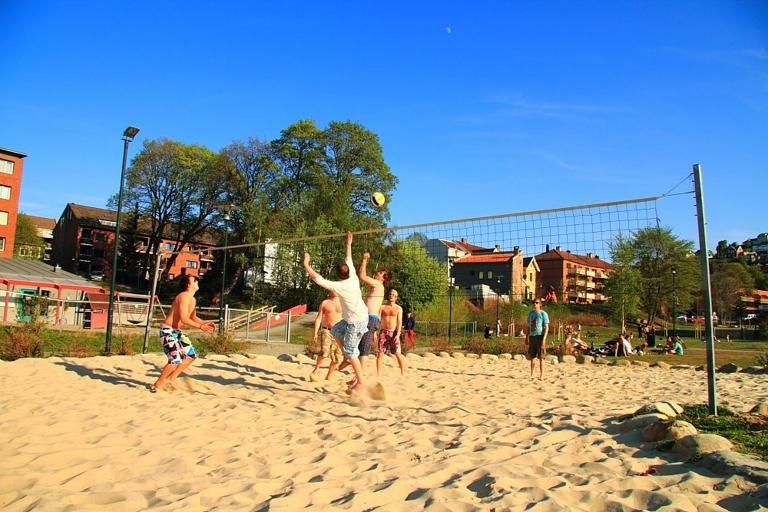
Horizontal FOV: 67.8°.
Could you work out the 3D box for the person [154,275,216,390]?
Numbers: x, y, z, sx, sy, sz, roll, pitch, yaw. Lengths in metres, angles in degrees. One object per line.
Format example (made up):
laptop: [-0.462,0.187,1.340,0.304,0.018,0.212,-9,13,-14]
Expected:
person: [-3.292,1.220,9.308,0.918,1.788,1.342,-2,-1,-22]

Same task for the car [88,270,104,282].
car: [-23.436,1.673,46.805,1.057,0.805,1.645,3,-15,-34]

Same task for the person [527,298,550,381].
person: [3.377,1.779,12.490,0.434,1.431,1.931,-3,-1,15]
